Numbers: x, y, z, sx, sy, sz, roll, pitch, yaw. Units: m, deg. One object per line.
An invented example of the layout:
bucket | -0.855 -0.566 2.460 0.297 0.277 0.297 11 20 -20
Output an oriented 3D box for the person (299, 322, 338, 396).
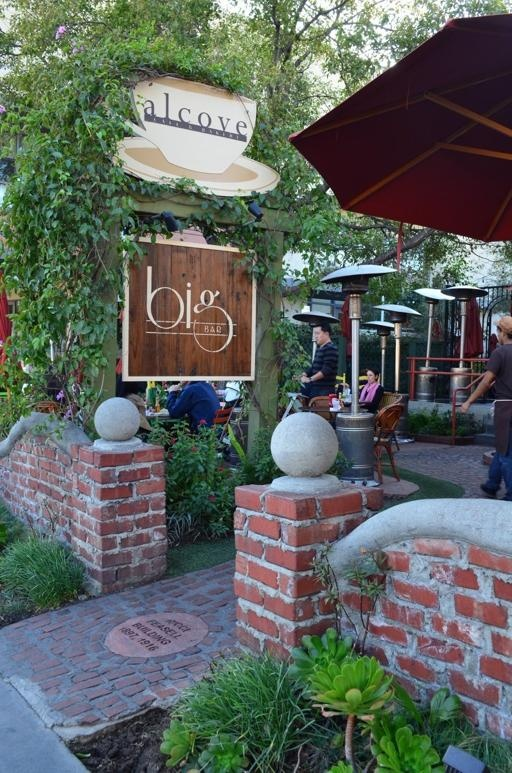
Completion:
person | 0.827 -0.350 8.140 0.511 0.880 1.382 -7 -2 4

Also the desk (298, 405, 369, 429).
desk | 0.883 0.360 7.235 0.656 0.230 1.431 -7 -2 -6
